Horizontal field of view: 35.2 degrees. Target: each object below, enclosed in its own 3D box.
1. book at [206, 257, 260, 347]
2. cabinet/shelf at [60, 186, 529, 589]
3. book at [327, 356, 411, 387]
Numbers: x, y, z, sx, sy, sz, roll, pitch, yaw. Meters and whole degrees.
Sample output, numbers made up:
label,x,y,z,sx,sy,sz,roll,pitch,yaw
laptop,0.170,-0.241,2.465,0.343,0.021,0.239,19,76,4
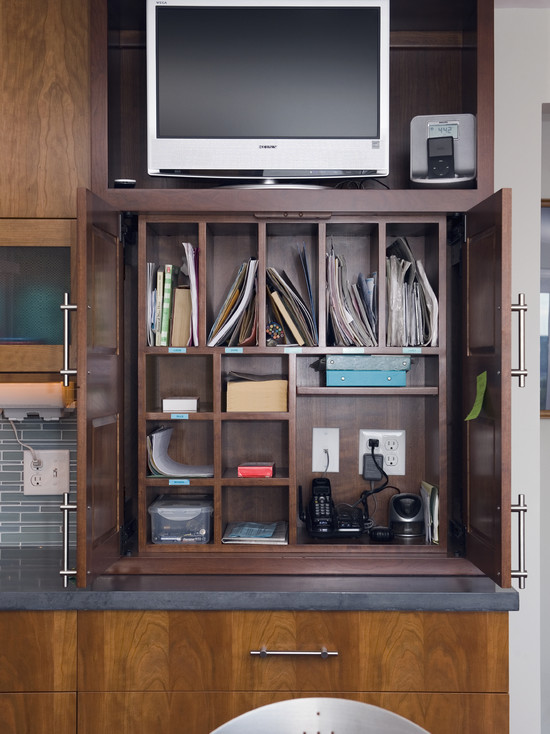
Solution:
label,x,y,z,sx,sy,sz,roll,pitch,yaw
book,-0.127,-0.168,2.619,0.055,0.277,0.165,8,0,-4
cabinet/shelf,0.047,0.104,2.675,1.260,1.854,0.857,0,-3,1
book,0.268,0.011,2.567,0.247,0.096,0.035,-2,-2,2
